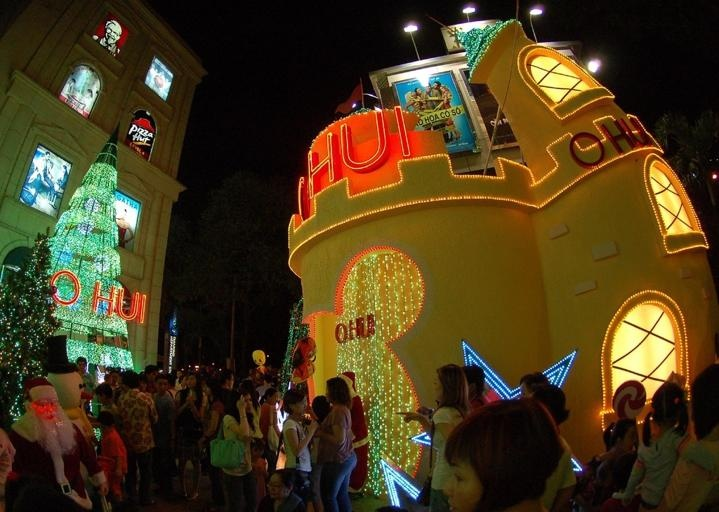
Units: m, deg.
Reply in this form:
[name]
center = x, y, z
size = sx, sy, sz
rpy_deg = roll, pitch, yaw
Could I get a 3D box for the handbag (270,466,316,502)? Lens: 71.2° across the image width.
[handbag]
center = -1.055, 3.447, 7.860
size = 0.630, 0.507, 0.495
rpy_deg = -29, -23, 33
